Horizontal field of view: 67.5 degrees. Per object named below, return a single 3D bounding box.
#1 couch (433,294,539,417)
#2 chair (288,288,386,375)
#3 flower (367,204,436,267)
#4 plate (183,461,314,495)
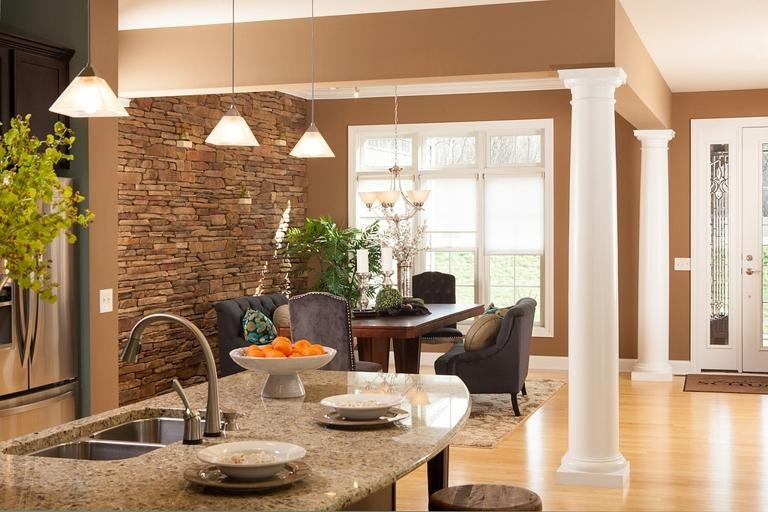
[{"bbox_3d":[1.071,1.014,6.467,1.323,1.161,1.326,0,-1,17],"label":"couch"},{"bbox_3d":[-0.337,0.669,5.374,0.751,1.124,0.764,1,0,23],"label":"chair"},{"bbox_3d":[0.109,-0.313,8.637,0.942,1.018,1.095,-1,1,23],"label":"flower"},{"bbox_3d":[-0.422,0.697,1.823,0.387,0.048,0.190,-2,1,-4],"label":"plate"}]
